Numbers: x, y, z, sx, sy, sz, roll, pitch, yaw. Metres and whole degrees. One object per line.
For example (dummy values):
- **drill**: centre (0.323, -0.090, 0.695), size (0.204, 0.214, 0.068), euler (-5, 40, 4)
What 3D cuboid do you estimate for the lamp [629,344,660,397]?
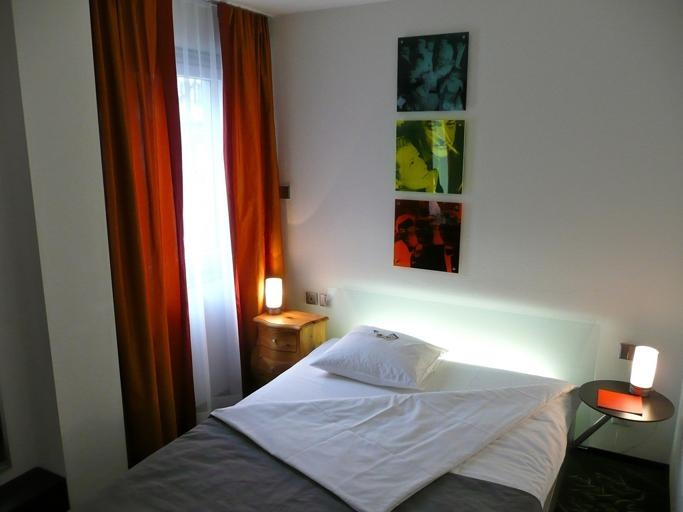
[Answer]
- **lamp**: centre (1.996, 0.757, 3.528), size (0.126, 0.325, 0.156), euler (-7, 11, -32)

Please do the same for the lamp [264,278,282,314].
- **lamp**: centre (-0.569, 0.335, 4.494), size (0.134, 0.304, 0.092), euler (-3, 10, -14)

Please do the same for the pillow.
- **pillow**: centre (0.254, 0.728, 3.762), size (0.465, 0.189, 0.536), euler (3, 8, 28)
